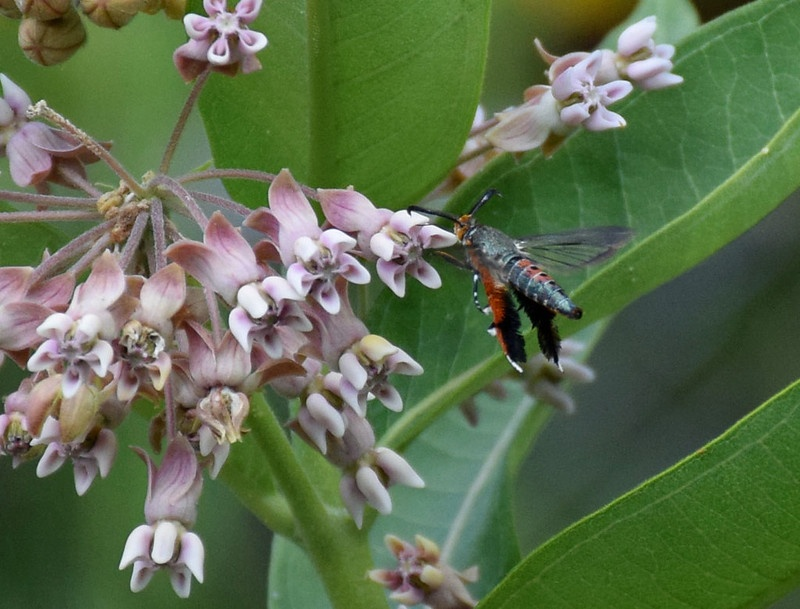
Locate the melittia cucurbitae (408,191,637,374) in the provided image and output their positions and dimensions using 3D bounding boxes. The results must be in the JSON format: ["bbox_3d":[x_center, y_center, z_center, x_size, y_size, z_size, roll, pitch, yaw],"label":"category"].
[{"bbox_3d":[0.156,-0.062,1.640,0.334,0.280,0.189,-6,-67,-46],"label":"melittia cucurbitae"}]
